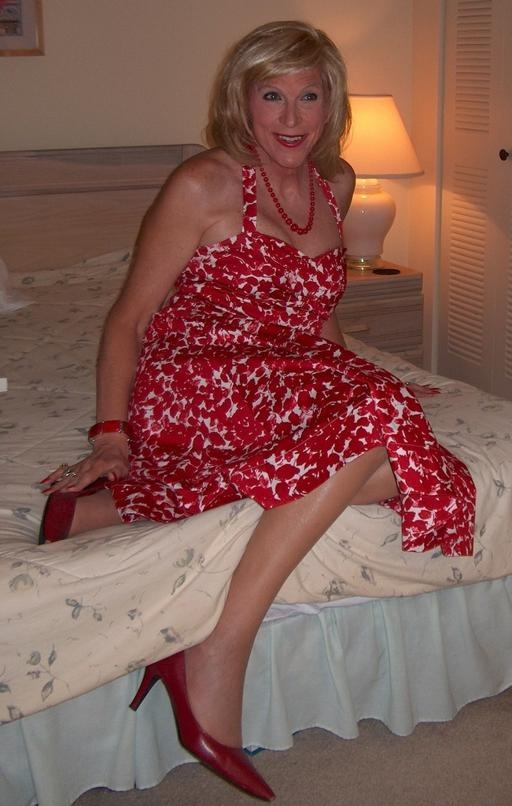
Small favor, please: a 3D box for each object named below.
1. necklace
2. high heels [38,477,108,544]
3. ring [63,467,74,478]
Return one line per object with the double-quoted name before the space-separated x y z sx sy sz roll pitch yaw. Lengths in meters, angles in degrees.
"necklace" 0.044 -0.407 1.138 0.020 0.170 0.114 -26 -4 41
"high heels" -0.260 0.150 0.844 0.031 0.085 0.052 28 -18 -21
"ring" -0.288 0.106 0.916 0.016 0.005 0.015 -13 37 10
